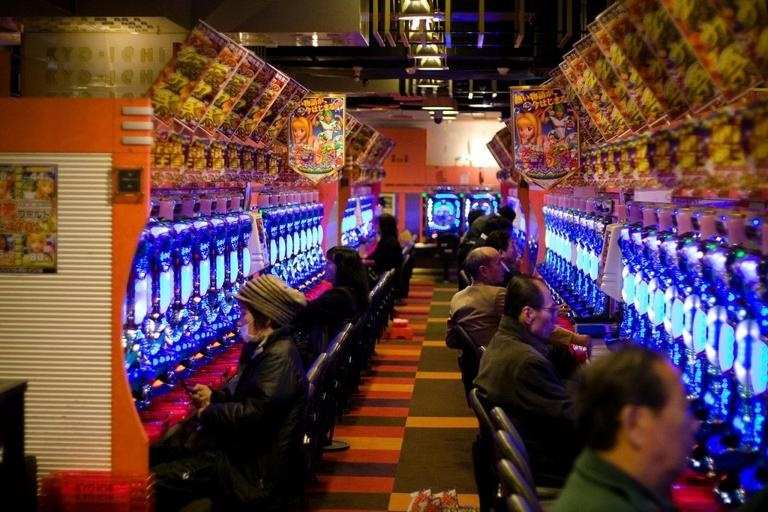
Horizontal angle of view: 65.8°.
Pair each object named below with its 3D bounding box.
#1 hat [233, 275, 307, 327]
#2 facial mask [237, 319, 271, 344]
[{"bbox_3d":[-0.748,0.289,3.872,0.448,0.330,0.170,-1,7,-9],"label":"hat"},{"bbox_3d":[-0.868,0.503,3.941,0.177,0.104,0.166,-9,-7,6],"label":"facial mask"}]
